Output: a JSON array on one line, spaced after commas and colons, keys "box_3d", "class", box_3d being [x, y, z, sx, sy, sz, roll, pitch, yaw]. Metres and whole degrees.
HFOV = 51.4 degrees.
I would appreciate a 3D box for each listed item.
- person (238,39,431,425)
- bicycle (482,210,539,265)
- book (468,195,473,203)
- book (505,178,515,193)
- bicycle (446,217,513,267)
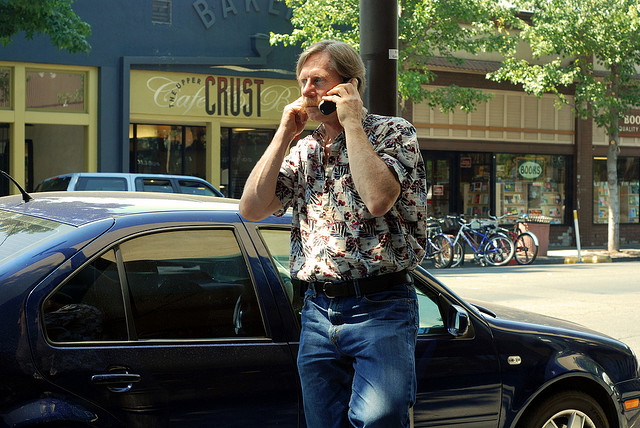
[{"box_3d": [0.109, 0.096, 3.472, 0.822, 1.988, 0.407, 1, 1, 32], "class": "person"}, {"box_3d": [4.907, 0.707, 17.284, 1.916, 1.157, 0.605, 2, 1, -32], "class": "bicycle"}, {"box_3d": [5.095, -0.503, 22.575, 0.198, 0.220, 0.201, -1, -4, 1], "class": "book"}, {"box_3d": [6.585, -0.990, 23.101, 0.421, 0.506, 0.084, 0, 2, -35], "class": "book"}, {"box_3d": [4.054, 0.760, 17.390, 2.087, 1.339, 0.871, -4, -12, 32], "class": "bicycle"}]
